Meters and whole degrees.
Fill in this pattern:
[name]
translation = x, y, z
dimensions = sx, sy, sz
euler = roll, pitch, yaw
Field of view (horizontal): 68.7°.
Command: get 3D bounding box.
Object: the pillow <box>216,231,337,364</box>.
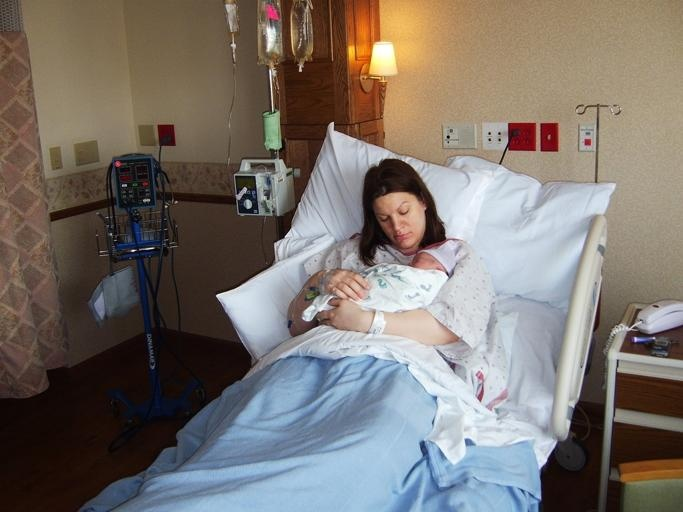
[pillow]
translation = -0.287, 0.164, 2.188
dimensions = 0.462, 0.369, 0.136
euler = -33, 9, -33

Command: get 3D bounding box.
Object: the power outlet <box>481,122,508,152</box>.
[power outlet]
translation = 0.746, -0.583, 2.414
dimensions = 0.133, 0.162, 0.018
euler = 3, 15, 28

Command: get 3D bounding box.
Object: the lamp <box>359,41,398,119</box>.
[lamp]
translation = 0.198, -0.875, 2.477
dimensions = 0.173, 0.355, 0.219
euler = 4, 14, 18
